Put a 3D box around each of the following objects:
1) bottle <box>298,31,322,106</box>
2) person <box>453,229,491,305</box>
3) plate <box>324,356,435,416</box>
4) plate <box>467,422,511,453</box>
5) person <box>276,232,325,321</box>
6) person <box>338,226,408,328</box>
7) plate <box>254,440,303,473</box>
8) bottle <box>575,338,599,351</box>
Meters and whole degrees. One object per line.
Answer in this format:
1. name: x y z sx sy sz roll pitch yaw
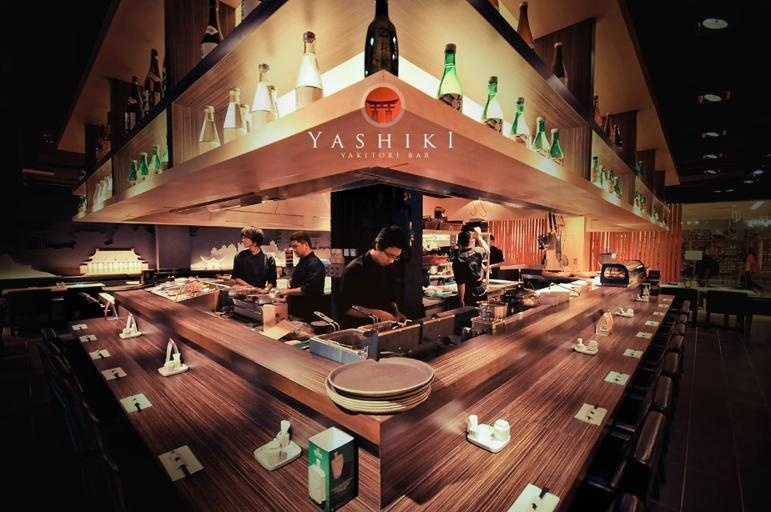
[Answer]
1. bottle: -0.582 -1.403 3.681 0.193 0.579 0.272 1 -5 -12
2. person: 1.252 0.165 6.946 0.518 1.133 0.482 0 -5 0
3. plate: -0.041 0.996 3.644 0.822 0.372 0.328 -1 -5 3
4. plate: 0.806 1.421 3.752 0.237 0.151 0.242 0 0 44
5. person: -1.149 0.312 6.697 0.577 1.276 1.194 0 -5 -9
6. person: -0.157 0.295 6.006 0.874 1.245 0.666 0 -5 -6
7. plate: -0.827 1.509 3.717 0.252 0.082 0.260 6 7 41
8. bottle: 2.011 0.908 4.809 0.190 0.089 0.142 -3 -2 37
